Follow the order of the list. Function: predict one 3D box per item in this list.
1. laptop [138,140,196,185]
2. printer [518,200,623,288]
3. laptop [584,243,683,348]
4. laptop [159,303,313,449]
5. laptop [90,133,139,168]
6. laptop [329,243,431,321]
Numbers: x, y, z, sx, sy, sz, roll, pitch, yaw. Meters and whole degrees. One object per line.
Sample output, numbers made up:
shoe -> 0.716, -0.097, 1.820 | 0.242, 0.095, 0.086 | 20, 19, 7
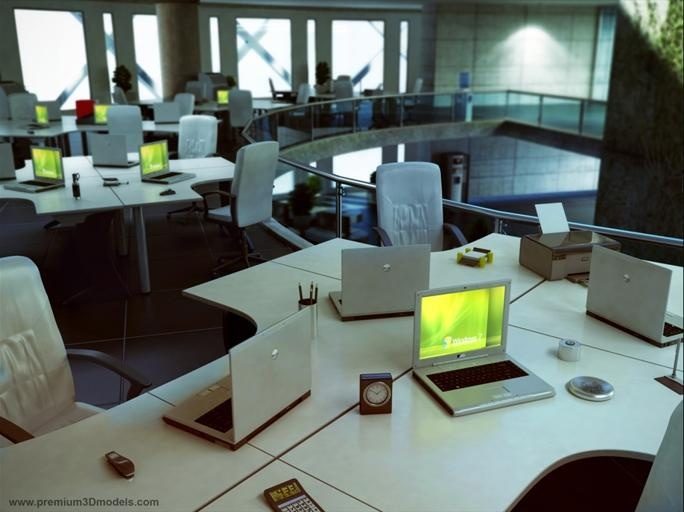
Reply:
laptop -> -1.874, -0.964, 5.572 | 0.482, 0.513, 0.634 | 9, 19, 15
printer -> 1.457, -0.196, 3.471 | 0.529, 0.420, 0.555 | -8, 21, -17
laptop -> 1.521, 0.226, 2.755 | 0.290, 0.383, 0.383 | -17, 27, -32
laptop -> -0.443, 0.463, 2.213 | 0.475, 0.526, 0.600 | 13, 27, 27
laptop -> -2.602, -1.228, 6.148 | 0.504, 0.450, 0.391 | 7, 14, 15
laptop -> 0.221, 0.135, 2.820 | 0.504, 0.428, 0.377 | -3, 16, -11
